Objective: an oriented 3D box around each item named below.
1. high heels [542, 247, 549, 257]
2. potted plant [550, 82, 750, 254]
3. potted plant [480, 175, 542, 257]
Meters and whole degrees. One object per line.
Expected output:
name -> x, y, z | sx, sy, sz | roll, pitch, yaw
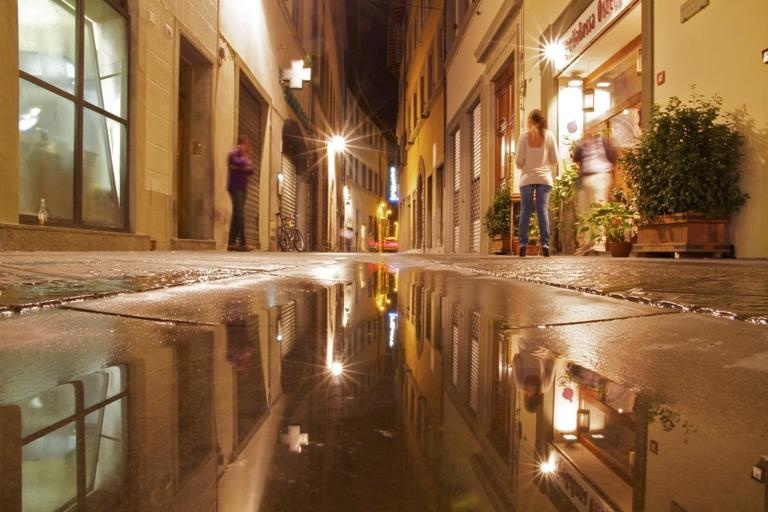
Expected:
high heels -> 1.875, -0.052, 6.819 | 0.049, 0.106, 0.141 | -6, -27, 12
potted plant -> 2.537, -0.748, 5.877 | 1.008, 2.070, 1.791 | 0, 4, -4
potted plant -> 2.127, -0.588, 9.567 | 0.855, 1.564, 1.166 | 2, -6, -1
